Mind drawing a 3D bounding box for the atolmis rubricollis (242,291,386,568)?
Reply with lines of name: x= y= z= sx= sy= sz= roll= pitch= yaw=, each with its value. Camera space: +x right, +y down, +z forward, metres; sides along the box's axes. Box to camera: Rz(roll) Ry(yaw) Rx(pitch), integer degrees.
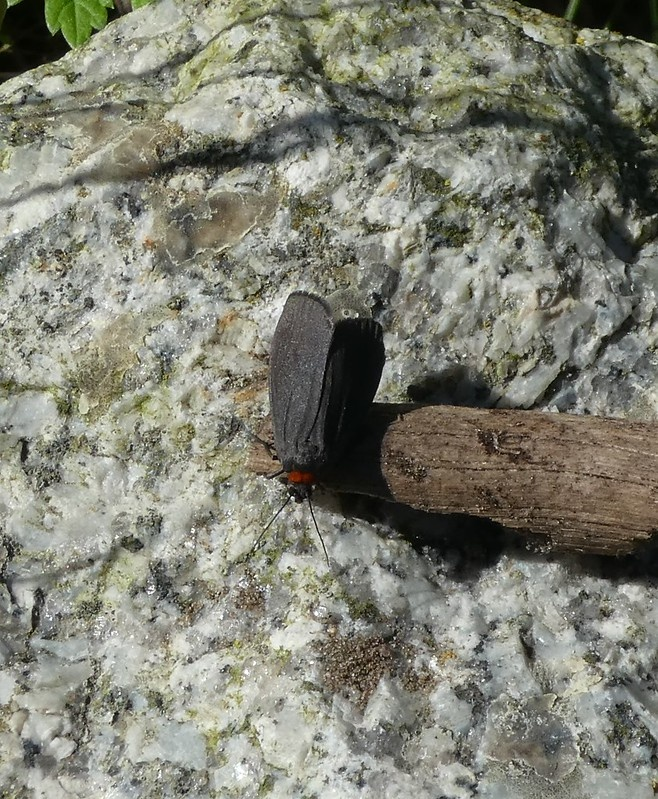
atolmis rubricollis: x=-0.006 y=-0.010 z=3.360 sx=0.390 sy=0.528 sz=0.557 roll=-4 pitch=44 yaw=5
